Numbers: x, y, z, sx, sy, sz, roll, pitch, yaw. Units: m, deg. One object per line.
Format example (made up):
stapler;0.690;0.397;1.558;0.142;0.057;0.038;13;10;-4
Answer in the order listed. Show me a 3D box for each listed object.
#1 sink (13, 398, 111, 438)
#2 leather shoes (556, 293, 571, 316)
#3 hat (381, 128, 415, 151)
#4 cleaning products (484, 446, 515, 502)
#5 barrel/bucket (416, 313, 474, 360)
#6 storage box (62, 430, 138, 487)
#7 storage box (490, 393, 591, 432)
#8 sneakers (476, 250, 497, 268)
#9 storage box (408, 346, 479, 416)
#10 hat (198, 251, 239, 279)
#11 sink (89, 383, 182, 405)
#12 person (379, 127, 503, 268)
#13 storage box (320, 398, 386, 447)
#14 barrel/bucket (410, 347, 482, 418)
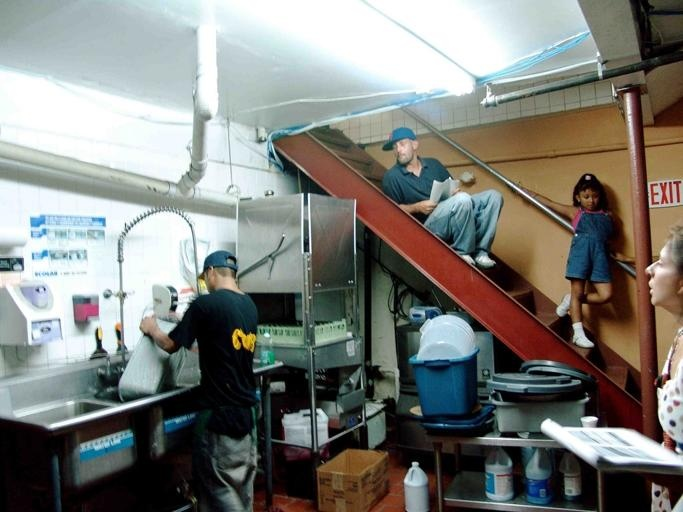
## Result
sink;-1.791;0.963;3.540;0.310;0.183;0.415;2;-2;26
leather shoes;2.006;0.454;5.110;0.094;0.240;0.080;-8;-44;41
hat;0.566;-1.117;5.482;0.269;0.150;0.201;-1;-2;-19
cleaning products;1.132;1.544;4.083;0.189;0.371;0.193;6;-11;-38
barrel/bucket;0.760;0.575;4.051;0.316;0.333;0.250;-8;10;15
storage box;-1.453;1.153;3.350;0.233;0.344;0.447;-8;-5;33
storage box;1.336;1.067;3.822;0.409;0.154;0.307;-1;-7;8
sneakers;1.256;0.035;4.961;0.100;0.079;0.184;-6;3;-14
storage box;0.729;0.873;4.010;0.413;0.350;0.395;-6;-4;21
hat;-0.835;0.058;3.797;0.206;0.122;0.156;-4;-6;20
sink;-1.530;0.920;3.911;0.307;0.089;0.339;0;0;43
person;0.936;-0.584;5.327;0.685;1.419;0.952;-17;9;-42
storage box;0.147;1.544;5.263;0.671;0.371;0.495;-3;-3;40
barrel/bucket;0.758;0.938;4.094;0.458;0.425;0.576;-8;-13;22
